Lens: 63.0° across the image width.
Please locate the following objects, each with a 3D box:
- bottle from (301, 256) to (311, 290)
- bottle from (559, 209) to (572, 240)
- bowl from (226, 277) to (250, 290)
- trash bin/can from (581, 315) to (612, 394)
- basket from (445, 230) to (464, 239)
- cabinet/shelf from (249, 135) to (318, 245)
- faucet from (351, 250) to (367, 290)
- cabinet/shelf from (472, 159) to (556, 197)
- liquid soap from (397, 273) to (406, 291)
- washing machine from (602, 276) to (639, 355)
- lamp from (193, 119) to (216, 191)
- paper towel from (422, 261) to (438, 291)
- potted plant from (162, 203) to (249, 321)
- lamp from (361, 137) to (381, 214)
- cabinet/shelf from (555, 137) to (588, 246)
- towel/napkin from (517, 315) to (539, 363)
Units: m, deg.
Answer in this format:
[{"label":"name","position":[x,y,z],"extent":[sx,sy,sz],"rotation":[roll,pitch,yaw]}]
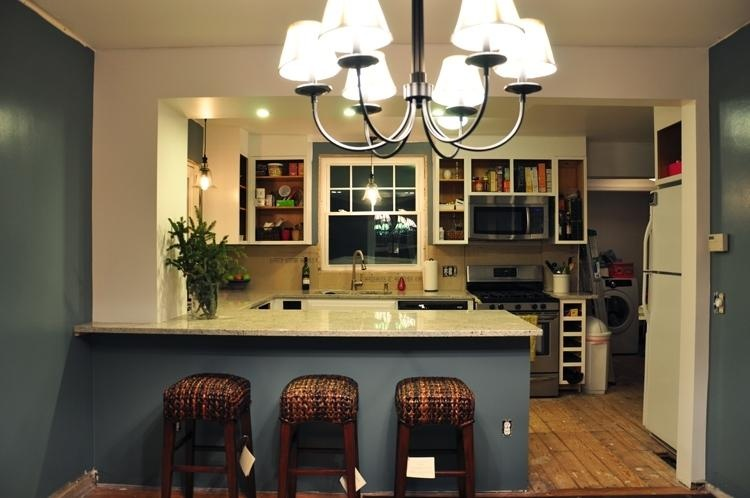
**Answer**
[{"label":"bottle","position":[-0.808,0.279,7.106],"extent":[0.103,0.382,0.182],"rotation":[1,-1,-8]},{"label":"bottle","position":[2.119,-0.277,6.816],"extent":[0.141,0.331,0.038],"rotation":[0,0,17]},{"label":"bowl","position":[-1.550,0.377,6.894],"extent":[0.292,0.133,0.294],"rotation":[-2,-4,0]},{"label":"trash bin/can","position":[2.361,1.163,6.690],"extent":[0.470,0.815,0.444],"rotation":[-8,-19,34]},{"label":"basket","position":[0.887,-0.163,6.925],"extent":[0.132,0.082,0.137],"rotation":[0,1,-20]},{"label":"cabinet/shelf","position":[-1.071,-0.640,6.975],"extent":[0.685,1.233,0.397],"rotation":[1,1,-8]},{"label":"faucet","position":[-0.192,0.237,7.141],"extent":[0.175,0.473,0.382],"rotation":[0,-1,4]},{"label":"cabinet/shelf","position":[1.527,-0.830,6.894],"extent":[0.885,0.411,0.272],"rotation":[0,-1,3]},{"label":"liquid soap","position":[0.308,0.388,7.059],"extent":[0.103,0.190,0.214],"rotation":[0,-1,2]},{"label":"washing machine","position":[3.120,0.916,8.205],"extent":[0.507,0.939,0.525],"rotation":[-22,-23,40]},{"label":"lamp","position":[-1.671,-0.983,5.995],"extent":[0.229,0.807,0.229],"rotation":[1,10,-17]},{"label":"paper towel","position":[0.640,0.304,7.048],"extent":[0.184,0.366,0.176],"rotation":[0,-1,17]},{"label":"potted plant","position":[-1.375,0.119,4.963],"extent":[0.572,0.864,0.349],"rotation":[0,0,5]},{"label":"lamp","position":[-0.038,-0.818,6.601],"extent":[0.148,0.571,0.150],"rotation":[-17,27,-35]},{"label":"cabinet/shelf","position":[2.201,-0.656,6.927],"extent":[0.330,1.171,0.431],"rotation":[0,0,16]},{"label":"towel/napkin","position":[1.552,0.924,6.188],"extent":[0.178,0.497,0.587],"rotation":[0,-1,14]}]
